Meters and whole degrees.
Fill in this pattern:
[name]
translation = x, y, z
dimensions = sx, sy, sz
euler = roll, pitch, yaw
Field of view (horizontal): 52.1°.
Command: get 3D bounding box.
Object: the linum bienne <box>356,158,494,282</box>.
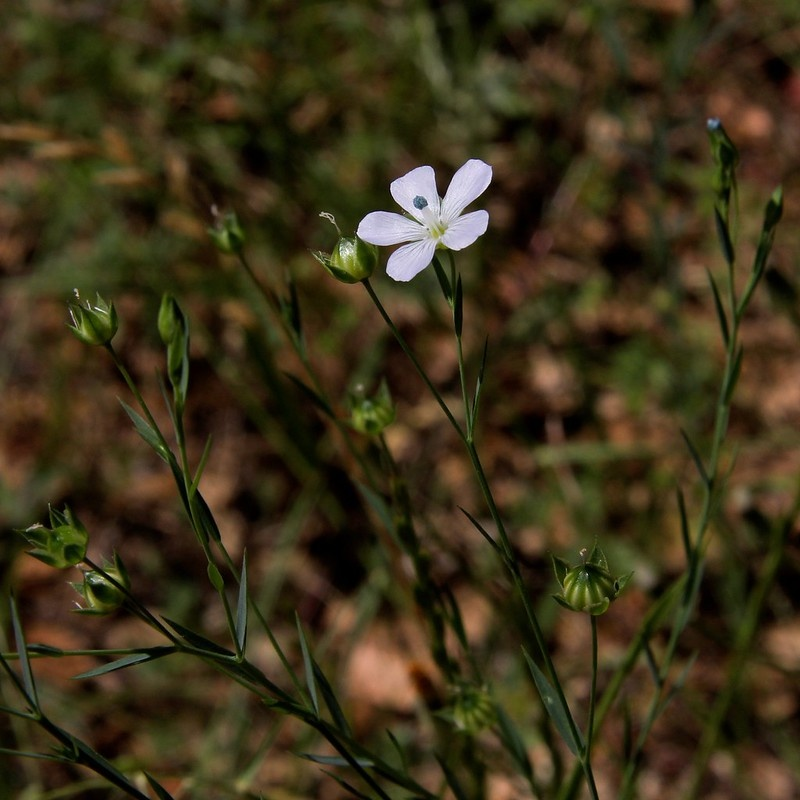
[linum bienne]
translation = 0.097, -0.450, 2.084
dimensions = 0.338, 0.169, 0.349
euler = -37, 2, -20
